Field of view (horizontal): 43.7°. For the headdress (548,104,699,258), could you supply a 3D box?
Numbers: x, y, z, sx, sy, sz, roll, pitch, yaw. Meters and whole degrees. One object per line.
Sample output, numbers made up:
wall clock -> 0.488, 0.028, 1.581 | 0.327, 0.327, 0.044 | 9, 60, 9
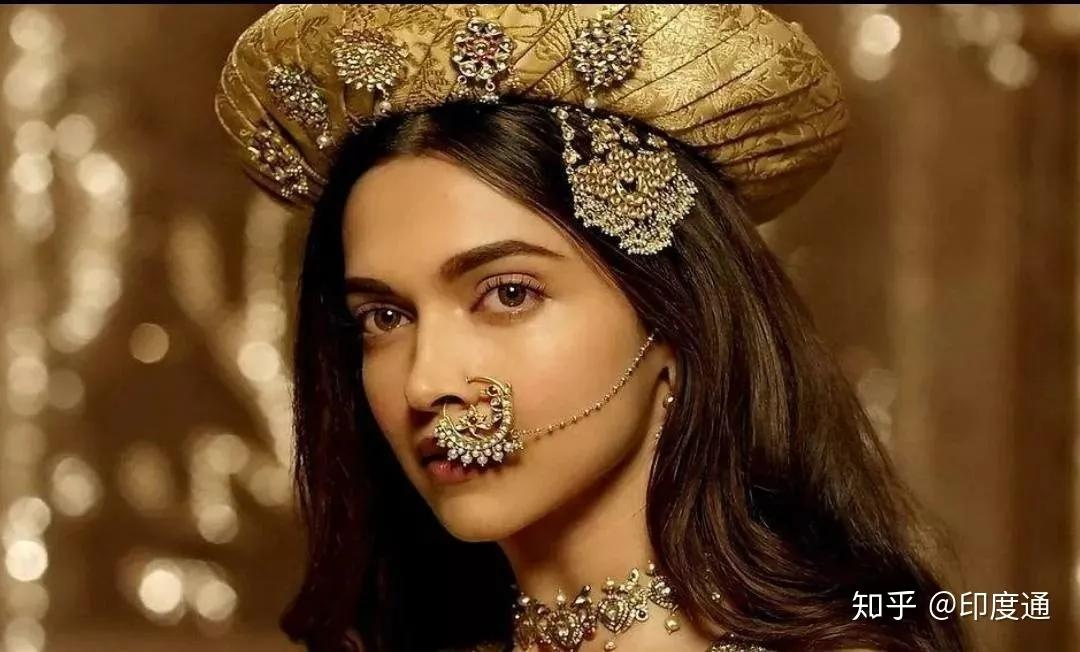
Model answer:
headdress -> 0.305, -0.529, 5.182 | 0.457, 0.090, 0.612 | 18, -9, 18

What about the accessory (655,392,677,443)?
accessory -> 0.492, 0.356, 5.207 | 0.047, 0.181, 0.087 | 26, -10, -14
